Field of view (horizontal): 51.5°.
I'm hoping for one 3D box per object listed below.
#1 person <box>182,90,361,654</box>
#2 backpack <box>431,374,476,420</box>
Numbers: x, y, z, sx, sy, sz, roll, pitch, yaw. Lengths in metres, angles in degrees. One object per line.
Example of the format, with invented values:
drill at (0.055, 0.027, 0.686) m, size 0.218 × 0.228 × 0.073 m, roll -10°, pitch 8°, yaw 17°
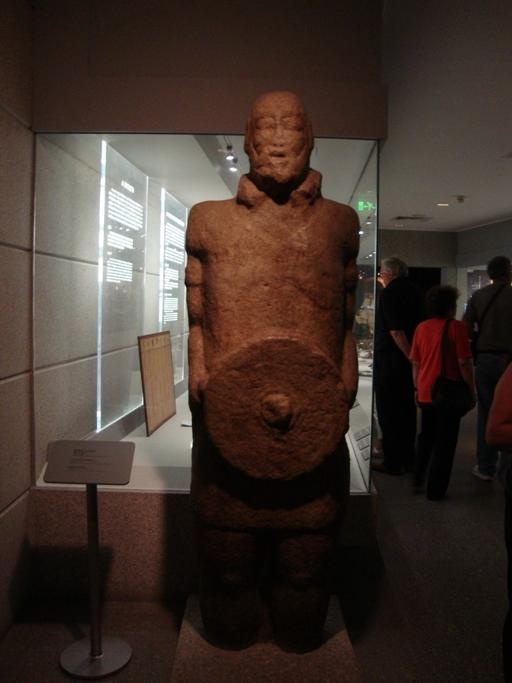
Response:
person at (0.096, 0.169, 1.945) m, size 0.685 × 2.120 × 0.502 m, roll -2°, pitch 6°, yaw -9°
backpack at (1.120, 0.309, 3.023) m, size 0.171 × 0.249 × 0.099 m, roll 13°, pitch 13°, yaw 13°
